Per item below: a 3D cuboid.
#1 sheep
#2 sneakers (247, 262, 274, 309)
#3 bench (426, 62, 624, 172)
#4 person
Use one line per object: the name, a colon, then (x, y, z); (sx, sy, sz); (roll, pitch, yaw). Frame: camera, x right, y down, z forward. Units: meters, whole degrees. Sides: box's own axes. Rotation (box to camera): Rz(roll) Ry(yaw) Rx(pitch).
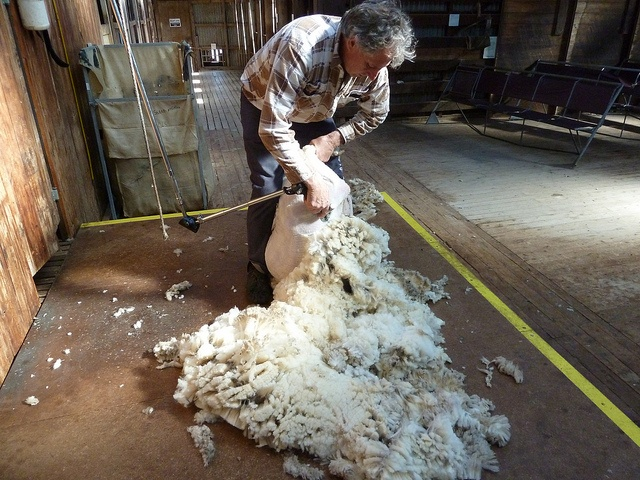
sheep: (-0.081, -0.142, 2.487); (0.538, 0.653, 0.335); (-37, 65, -24)
sneakers: (-0.382, 0.288, 2.668); (0.106, 0.117, 0.293); (-14, 39, -10)
bench: (2.836, -1.964, 6.026); (0.759, 0.984, 2.320); (-12, 30, -37)
person: (0.022, -0.732, 2.410); (0.939, 1.166, 0.660); (-3, 30, -10)
